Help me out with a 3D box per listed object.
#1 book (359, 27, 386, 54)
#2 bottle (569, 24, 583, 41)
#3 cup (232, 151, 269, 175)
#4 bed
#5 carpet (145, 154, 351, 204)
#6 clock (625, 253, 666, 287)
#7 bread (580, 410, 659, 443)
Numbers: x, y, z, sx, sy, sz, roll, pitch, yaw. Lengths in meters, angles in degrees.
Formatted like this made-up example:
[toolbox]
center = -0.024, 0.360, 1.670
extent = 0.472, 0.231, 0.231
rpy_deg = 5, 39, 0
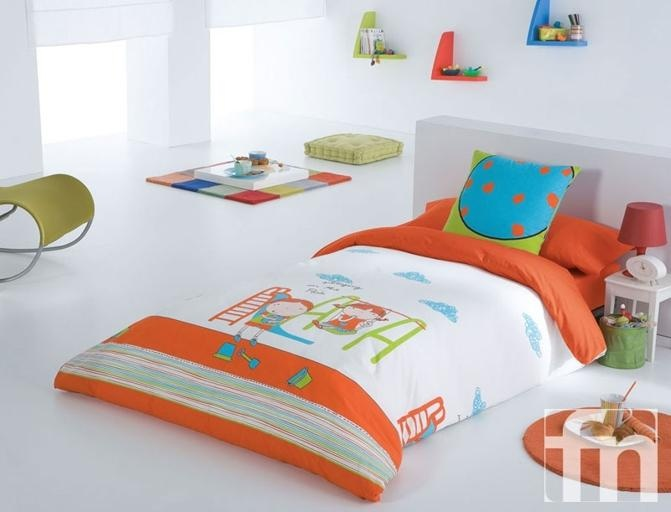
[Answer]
[book]
center = 0.666, -3.773, 9.013
extent = 0.508, 0.433, 0.275
rpy_deg = 6, 20, 19
[bottle]
center = 3.409, -3.170, 7.267
extent = 0.198, 0.256, 0.125
rpy_deg = 8, 16, 21
[cup]
center = -1.047, -1.171, 6.447
extent = 0.274, 0.156, 0.429
rpy_deg = 14, 19, 32
[bed]
center = 0.366, 0.327, 2.506
extent = 1.397, 0.428, 1.914
rpy_deg = 20, 30, 39
[carpet]
center = -1.080, -1.001, 6.651
extent = 2.100, 0.394, 1.608
rpy_deg = 9, 16, 29
[clock]
center = 1.758, 0.087, 2.918
extent = 0.096, 0.112, 0.162
rpy_deg = -21, 30, -38
[bread]
center = 1.204, 0.726, 2.181
extent = 0.184, 0.047, 0.186
rpy_deg = -15, 19, -39
